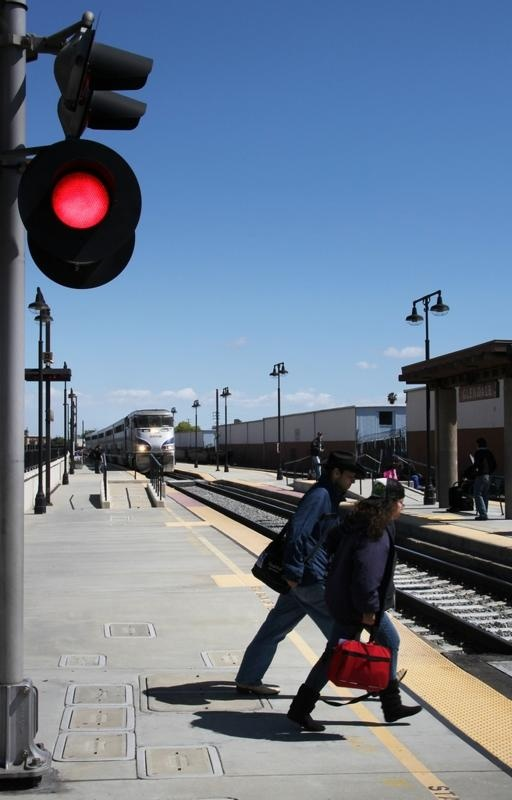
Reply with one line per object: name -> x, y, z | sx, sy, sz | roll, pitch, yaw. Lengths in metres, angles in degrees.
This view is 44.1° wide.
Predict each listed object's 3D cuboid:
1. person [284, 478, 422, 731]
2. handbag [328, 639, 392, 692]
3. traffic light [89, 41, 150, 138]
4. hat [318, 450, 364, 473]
person -> 0.554, 1.201, 3.644 | 0.704, 1.440, 0.550 | -3, -6, 14
handbag -> 0.564, 1.445, 3.444 | 0.349, 0.367, 0.134 | 4, -4, -6
traffic light -> -0.560, -1.174, 2.580 | 0.234, 0.302, 0.464 | 0, -7, -15
hat -> 0.535, 0.395, 3.889 | 0.247, 0.150, 0.292 | -2, -7, 7
